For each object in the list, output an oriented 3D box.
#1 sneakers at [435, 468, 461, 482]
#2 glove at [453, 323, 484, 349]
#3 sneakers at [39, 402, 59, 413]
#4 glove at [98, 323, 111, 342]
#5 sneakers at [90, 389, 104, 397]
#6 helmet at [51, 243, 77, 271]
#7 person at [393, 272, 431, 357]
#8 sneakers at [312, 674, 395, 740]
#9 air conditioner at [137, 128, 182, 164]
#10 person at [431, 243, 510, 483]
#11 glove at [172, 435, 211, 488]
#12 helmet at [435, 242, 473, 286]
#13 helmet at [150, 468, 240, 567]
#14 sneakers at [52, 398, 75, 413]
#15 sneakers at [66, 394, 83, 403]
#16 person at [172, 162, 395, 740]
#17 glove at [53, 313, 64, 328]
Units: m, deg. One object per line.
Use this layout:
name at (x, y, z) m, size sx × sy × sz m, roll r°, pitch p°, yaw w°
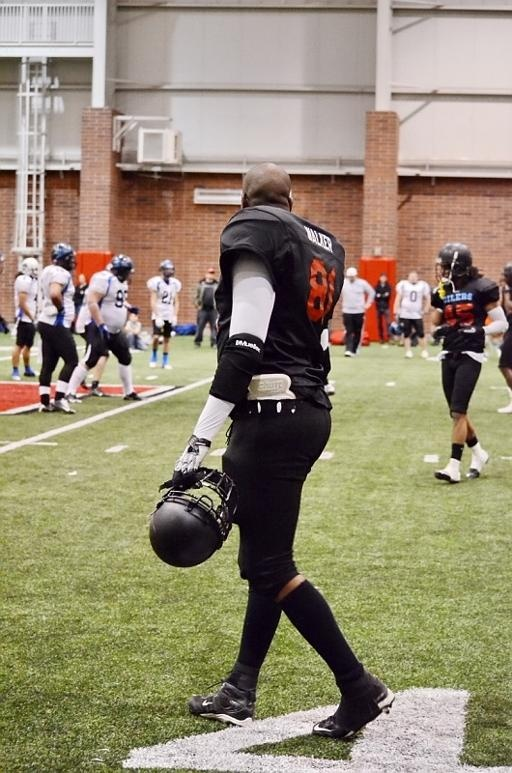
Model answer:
sneakers at (1.348, 0.632, 6.792) m, size 0.081 × 0.099 × 0.228 m, roll -29°, pitch -38°, yaw 26°
glove at (1.471, -0.352, 6.629) m, size 0.175 × 0.167 × 0.135 m, roll 11°, pitch 1°, yaw 31°
sneakers at (-2.228, 0.221, 10.312) m, size 0.239 × 0.100 × 0.089 m, roll 3°, pitch 2°, yaw 32°
glove at (-1.625, -0.578, 10.254) m, size 0.064 × 0.155 × 0.116 m, roll -13°, pitch -3°, yaw 21°
sneakers at (-1.961, 0.072, 11.923) m, size 0.152 × 0.073 × 0.212 m, roll -7°, pitch -3°, yaw 44°
helmet at (-2.180, -1.431, 10.573) m, size 0.265 × 0.330 × 0.318 m, roll 6°, pitch 14°, yaw 20°
person at (2.933, -1.345, 18.042) m, size 0.719 × 1.631 × 0.519 m, roll -1°, pitch -1°, yaw 11°
sneakers at (0.303, 0.992, 2.967) m, size 0.230 × 0.167 × 0.083 m, roll -36°, pitch -1°, yaw 17°
air conditioner at (-2.451, -6.029, 24.057) m, size 1.052 × 0.909 × 1.046 m, roll 2°, pitch 6°, yaw 3°
person at (1.504, -0.170, 6.891) m, size 0.545 × 1.684 × 0.610 m, roll 3°, pitch 5°, yaw 10°
glove at (-0.161, 0.194, 2.699) m, size 0.067 × 0.170 × 0.108 m, roll 6°, pitch -39°, yaw -32°
helmet at (1.403, -0.864, 6.761) m, size 0.254 × 0.300 × 0.316 m, roll 4°, pitch 5°, yaw 22°
helmet at (-0.193, 0.390, 2.833) m, size 0.210 × 0.286 × 0.263 m, roll 15°, pitch -32°, yaw 14°
sneakers at (-2.075, 0.211, 10.292) m, size 0.318 × 0.146 × 0.110 m, roll 18°, pitch 6°, yaw 33°
sneakers at (-2.060, 0.127, 10.721) m, size 0.204 × 0.091 × 0.090 m, roll 4°, pitch 1°, yaw 30°
person at (0.060, 0.257, 2.939) m, size 0.694 × 1.601 × 0.426 m, roll 1°, pitch 5°, yaw -19°
glove at (-2.045, -0.697, 10.036) m, size 0.108 × 0.143 × 0.046 m, roll -1°, pitch 6°, yaw -37°
